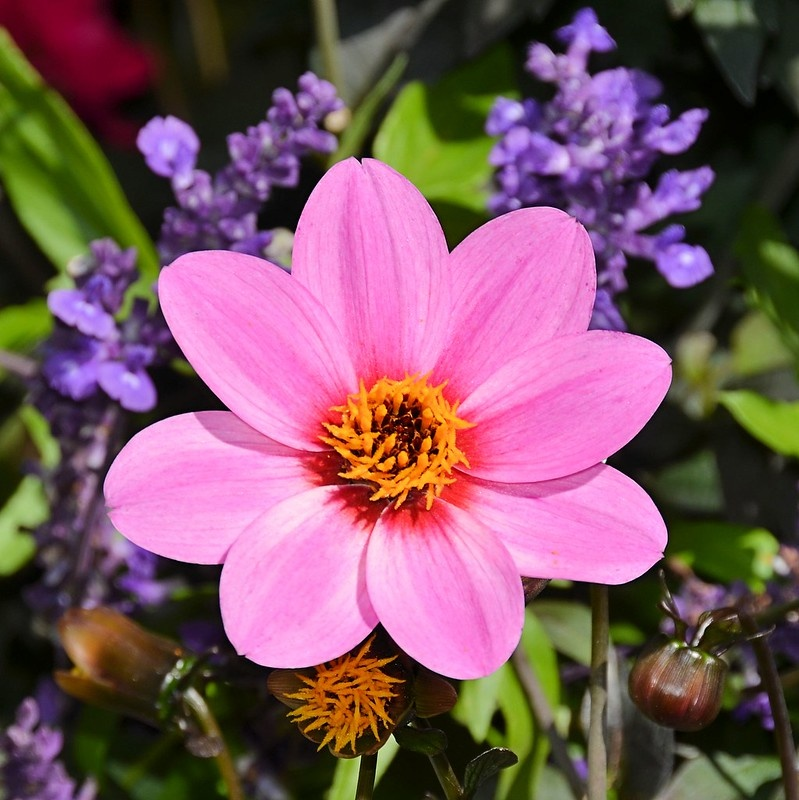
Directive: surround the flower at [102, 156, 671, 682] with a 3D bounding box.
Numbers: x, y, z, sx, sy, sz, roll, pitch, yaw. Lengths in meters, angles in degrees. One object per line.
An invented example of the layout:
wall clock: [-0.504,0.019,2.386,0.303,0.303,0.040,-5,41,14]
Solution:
flower: [0.005,0.012,0.490,0.285,0.097,0.276,11,70,6]
